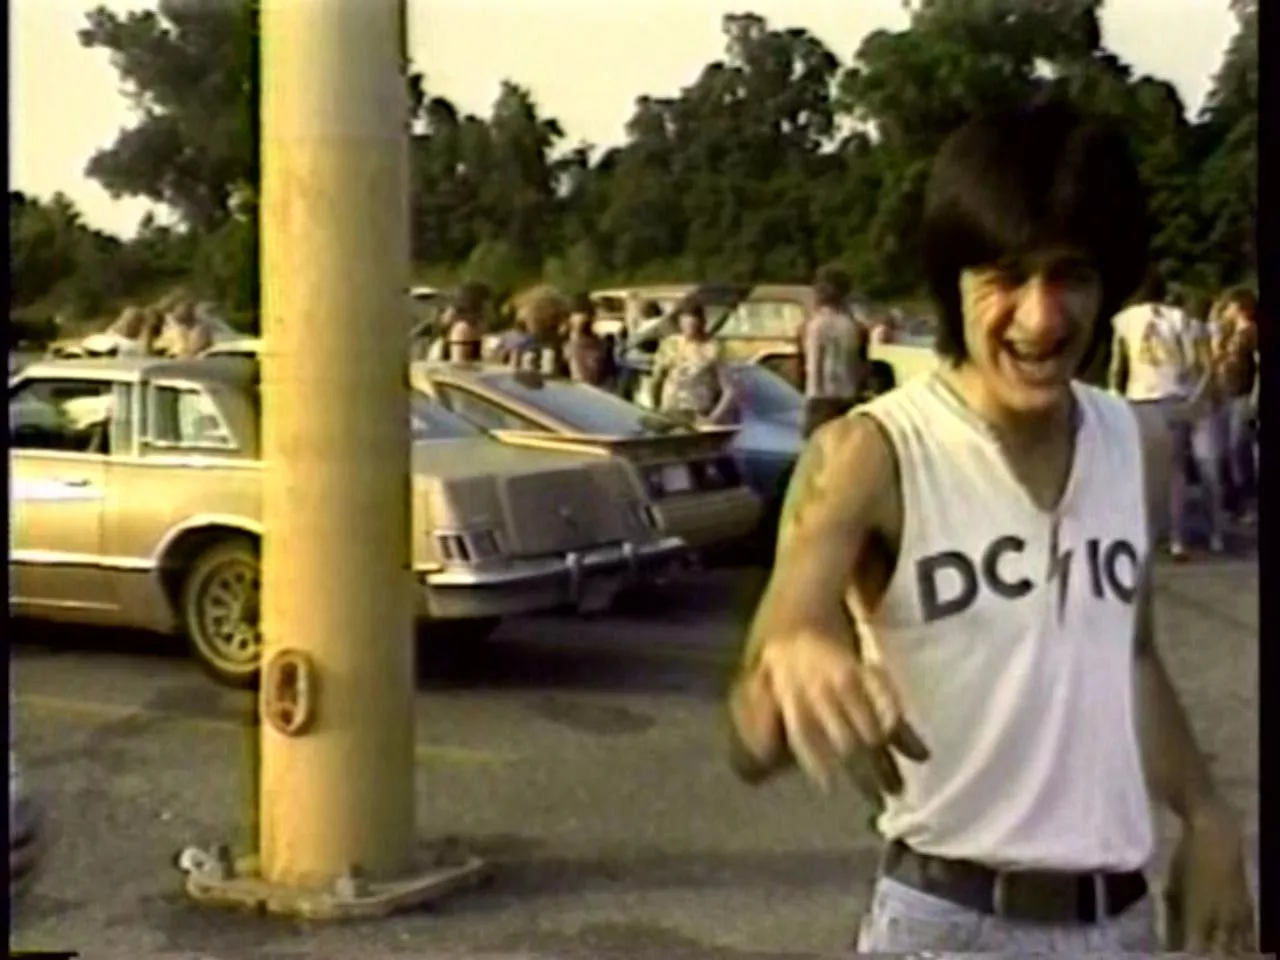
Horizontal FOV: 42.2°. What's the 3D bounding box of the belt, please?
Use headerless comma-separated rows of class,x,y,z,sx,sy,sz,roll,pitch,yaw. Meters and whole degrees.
belt,0.663,0.725,2.948,0.262,0.075,0.214,3,10,13

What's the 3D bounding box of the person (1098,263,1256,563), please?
person,1.504,-0.220,4.666,0.262,0.593,1.127,-4,39,10

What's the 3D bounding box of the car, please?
car,-1.089,0.022,6.037,2.331,0.732,1.437,6,11,30

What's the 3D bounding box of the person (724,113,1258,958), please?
person,0.561,0.097,2.746,0.514,1.537,1.030,-1,1,40
